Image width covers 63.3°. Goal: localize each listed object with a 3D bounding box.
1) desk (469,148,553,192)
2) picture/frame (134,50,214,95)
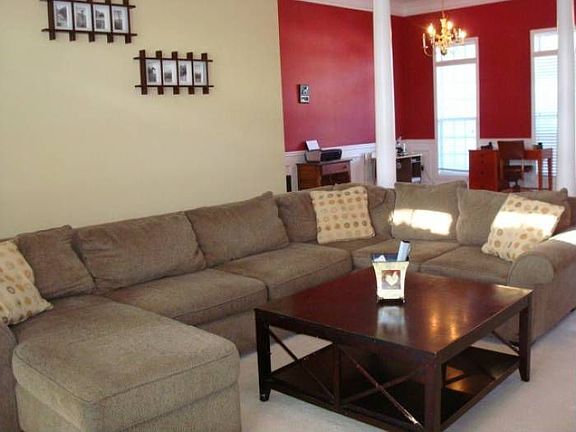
[{"bbox_3d":[3.799,-0.798,7.969,0.965,0.888,0.415,1,3,40],"label":"desk"},{"bbox_3d":[-1.195,-1.531,5.037,0.845,0.449,0.116,-7,19,-25],"label":"picture/frame"}]
